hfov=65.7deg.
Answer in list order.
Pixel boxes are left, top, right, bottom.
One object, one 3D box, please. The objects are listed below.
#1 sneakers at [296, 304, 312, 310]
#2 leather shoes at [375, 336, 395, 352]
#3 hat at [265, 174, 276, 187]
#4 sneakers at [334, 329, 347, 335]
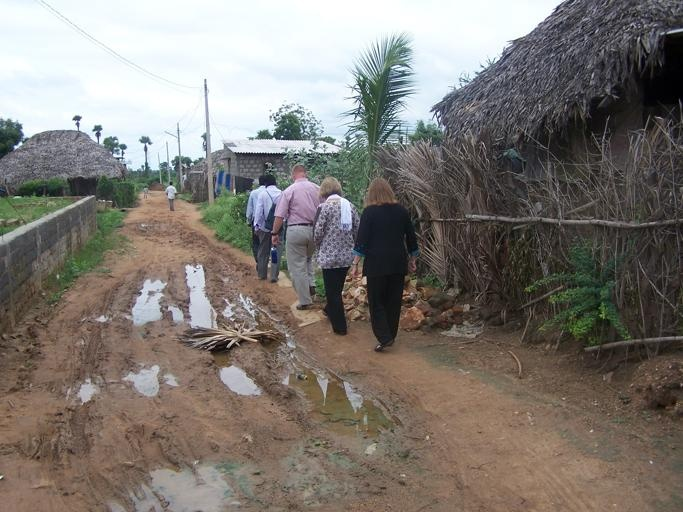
[{"bbox_3d":[-0.602,0.800,8.421,0.193,0.089,0.084,6,-3,-10],"label":"sneakers"},{"bbox_3d":[0.578,1.115,6.724,0.114,0.131,0.308,20,-34,-41],"label":"leather shoes"},{"bbox_3d":[-1.405,-1.479,10.314,0.180,0.227,0.225,2,20,-10],"label":"hat"},{"bbox_3d":[-0.005,1.059,7.436,0.144,0.102,0.067,6,1,-2],"label":"sneakers"}]
